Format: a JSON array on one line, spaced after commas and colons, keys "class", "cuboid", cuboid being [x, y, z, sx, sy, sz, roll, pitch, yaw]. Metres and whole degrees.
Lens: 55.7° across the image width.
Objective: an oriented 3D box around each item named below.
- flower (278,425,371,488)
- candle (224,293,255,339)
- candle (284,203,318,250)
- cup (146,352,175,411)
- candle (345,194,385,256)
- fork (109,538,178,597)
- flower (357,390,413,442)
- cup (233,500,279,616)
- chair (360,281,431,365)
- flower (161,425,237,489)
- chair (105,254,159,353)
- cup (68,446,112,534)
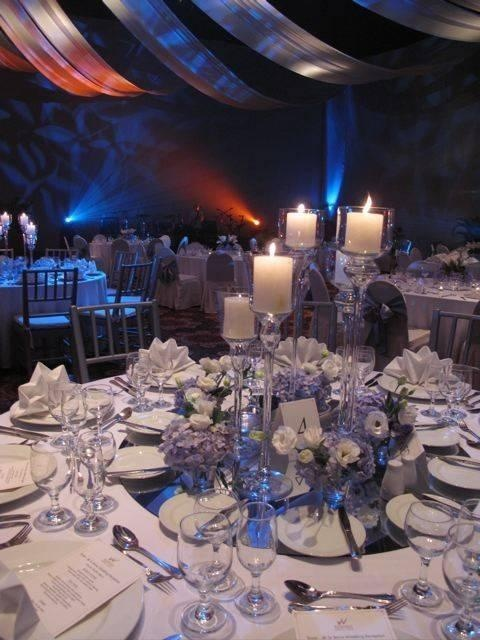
[{"class": "flower", "cuboid": [0.172, 0.249, 0.823, 0.085, 0.116, 0.111, -23, 16, -26]}, {"class": "candle", "cuboid": [-0.002, -0.004, 0.913, 0.069, 0.087, 0.068, 2, 13, -1]}, {"class": "candle", "cuboid": [0.149, -0.233, 1.146, 0.099, 0.106, 0.096, -5, 15, -5]}, {"class": "cup", "cuboid": [-0.258, 0.207, 1.487, 0.124, 0.200, 0.137, 2, 2, 3]}, {"class": "candle", "cuboid": [0.267, -0.198, 0.931, 0.093, 0.116, 0.089, 3, -1, -26]}, {"class": "fork", "cuboid": [-0.189, 0.393, 0.800, 0.035, 0.030, 0.265, -21, 13, -33]}, {"class": "flower", "cuboid": [0.334, 0.223, 1.014, 0.120, 0.099, 0.126, -9, 4, 41]}, {"class": "cup", "cuboid": [0.029, 0.338, 0.662, 0.063, 0.173, 0.114, 3, 14, 5]}, {"class": "chair", "cuboid": [1.065, 0.027, 3.127, 0.410, 0.713, 0.406, 22, 42, 40]}, {"class": "flower", "cuboid": [-0.091, 0.255, 0.962, 0.148, 0.140, 0.144, 0, 6, -8]}, {"class": "chair", "cuboid": [-1.266, -0.166, 4.638, 0.628, 0.882, 0.577, 12, 15, 20]}, {"class": "cup", "cuboid": [-0.290, 0.324, 0.865, 0.078, 0.194, 0.075, 2, 27, -1]}]
